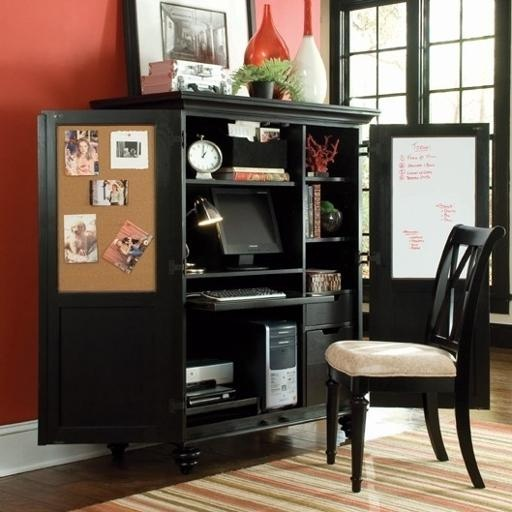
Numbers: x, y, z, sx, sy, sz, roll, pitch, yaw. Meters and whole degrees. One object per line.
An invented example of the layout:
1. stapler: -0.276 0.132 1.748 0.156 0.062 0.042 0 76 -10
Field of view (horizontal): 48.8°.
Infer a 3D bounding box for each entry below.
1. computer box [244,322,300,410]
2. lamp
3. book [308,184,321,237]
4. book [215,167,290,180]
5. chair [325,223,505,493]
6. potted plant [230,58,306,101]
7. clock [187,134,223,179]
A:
1. computer box: 0.082 0.549 2.801 0.255 0.453 0.193 -1 9 -2
2. lamp: -0.249 -0.110 2.799 0.187 0.385 0.469 -2 10 -7
3. book: 0.313 -0.244 3.014 0.082 0.279 0.055 -3 10 -13
4. book: -0.007 -0.407 2.775 0.361 0.077 0.178 -2 10 -6
5. chair: 0.721 0.404 3.031 1.004 1.661 0.962 2 -1 -7
6. potted plant: 0.071 -0.924 2.914 0.388 0.221 0.214 -10 14 -43
7. clock: -0.239 -0.466 2.689 0.181 0.176 0.057 -9 12 -40
